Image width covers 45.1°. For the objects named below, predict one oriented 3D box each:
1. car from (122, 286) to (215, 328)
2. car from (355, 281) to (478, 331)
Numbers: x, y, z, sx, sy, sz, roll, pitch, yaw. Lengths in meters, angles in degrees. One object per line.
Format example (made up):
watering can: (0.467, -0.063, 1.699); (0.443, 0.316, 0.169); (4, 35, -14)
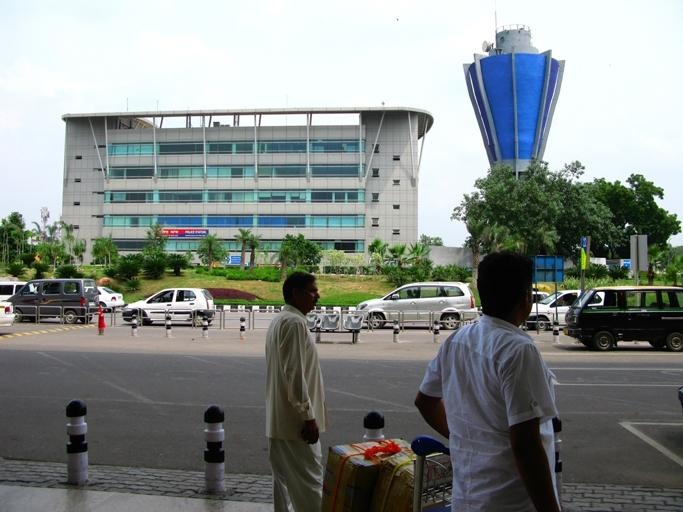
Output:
car: (-6.689, 1.988, 31.830); (2.867, 1.227, 1.683); (4, -3, 3)
car: (2.874, 1.885, 30.490); (4.174, 1.549, 1.916); (2, -5, 5)
